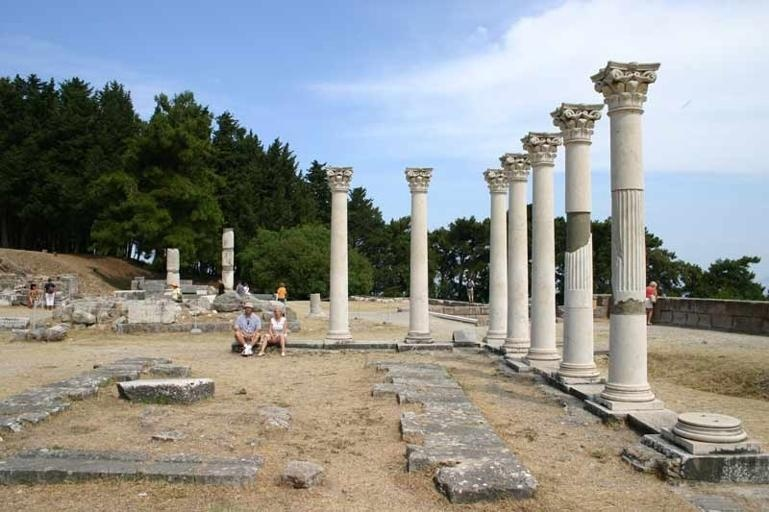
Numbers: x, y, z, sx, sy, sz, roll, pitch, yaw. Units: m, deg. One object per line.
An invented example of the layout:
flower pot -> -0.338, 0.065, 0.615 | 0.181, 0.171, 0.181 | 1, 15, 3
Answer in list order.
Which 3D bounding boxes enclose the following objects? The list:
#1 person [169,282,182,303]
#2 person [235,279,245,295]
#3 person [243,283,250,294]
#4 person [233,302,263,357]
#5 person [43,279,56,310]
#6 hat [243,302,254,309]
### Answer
person -> -9.937, 1.772, 37.081 | 0.529, 0.824, 0.640 | 4, -4, -6
person -> -8.682, 1.876, 46.870 | 0.441, 0.540, 0.951 | 5, -35, -6
person -> -8.370, 1.977, 47.204 | 0.394, 0.698, 0.449 | -3, 10, -3
person -> -4.138, 2.186, 23.562 | 0.706, 1.501, 1.302 | 0, 9, -12
person -> -15.146, 1.774, 35.472 | 0.449, 1.195, 1.795 | -2, 9, -23
hat -> -4.789, 1.750, 27.321 | 0.612, 0.273, 0.765 | 0, -3, -7
